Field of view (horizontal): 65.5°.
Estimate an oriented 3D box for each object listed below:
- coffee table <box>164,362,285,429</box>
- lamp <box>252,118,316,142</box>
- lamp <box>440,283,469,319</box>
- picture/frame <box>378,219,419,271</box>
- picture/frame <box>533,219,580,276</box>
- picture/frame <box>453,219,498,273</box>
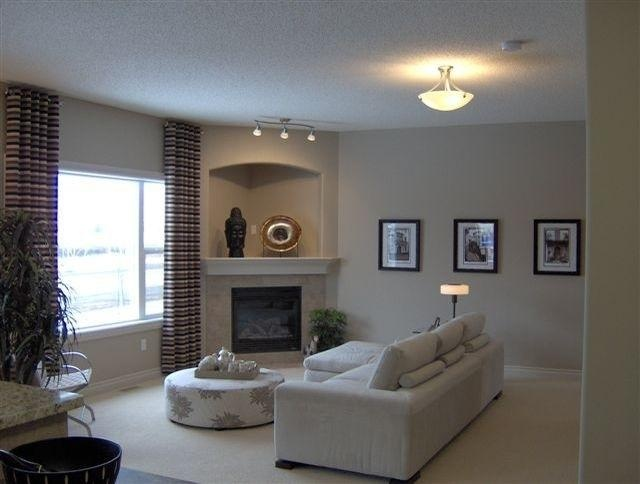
[{"bbox_3d":[-0.784,1.278,4.064,1.032,0.374,0.498,-2,2,15],"label":"coffee table"},{"bbox_3d":[-0.412,-1.273,5.741,0.760,0.202,0.638,-2,1,-4],"label":"lamp"},{"bbox_3d":[1.450,0.642,5.299,0.244,0.446,0.774,-2,2,19],"label":"lamp"},{"bbox_3d":[0.950,0.035,5.903,0.577,0.754,0.054,1,1,24],"label":"picture/frame"},{"bbox_3d":[2.472,0.055,5.163,0.056,0.766,0.556,-2,3,-44],"label":"picture/frame"},{"bbox_3d":[1.765,0.050,5.605,0.580,0.727,0.052,1,0,36],"label":"picture/frame"}]
